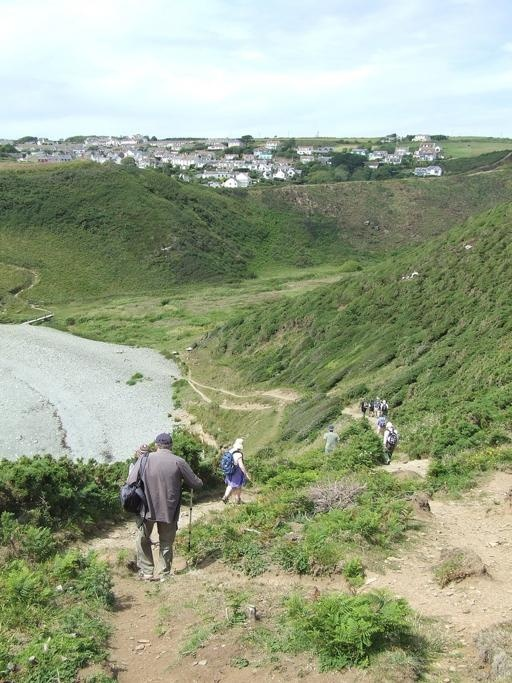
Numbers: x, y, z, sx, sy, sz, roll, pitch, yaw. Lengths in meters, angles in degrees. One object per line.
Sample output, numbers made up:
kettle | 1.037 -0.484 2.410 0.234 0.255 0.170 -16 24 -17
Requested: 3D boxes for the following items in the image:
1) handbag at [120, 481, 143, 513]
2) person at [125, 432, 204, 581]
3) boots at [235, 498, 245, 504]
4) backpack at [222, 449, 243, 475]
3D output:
handbag | -1.568 1.998 8.541 0.272 0.455 0.217 0 11 -19
person | -1.241 2.187 8.816 0.893 1.968 0.610 2 11 -10
boots | -0.303 2.968 12.555 0.139 0.088 0.096 10 -21 4
backpack | -0.582 2.282 12.748 0.512 0.426 0.327 2 -6 -31
